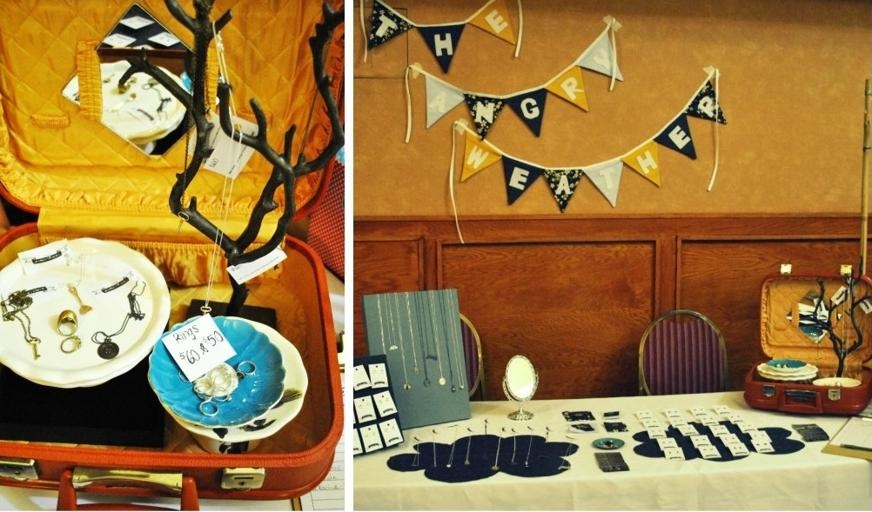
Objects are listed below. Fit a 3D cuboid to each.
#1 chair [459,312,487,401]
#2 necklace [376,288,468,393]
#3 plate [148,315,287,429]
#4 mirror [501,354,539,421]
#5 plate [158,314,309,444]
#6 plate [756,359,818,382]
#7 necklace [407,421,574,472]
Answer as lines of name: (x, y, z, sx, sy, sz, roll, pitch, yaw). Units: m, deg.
chair: (0.196, 0.513, 3.572, 0.141, 0.433, 0.115, 2, 3, 5)
necklace: (-0.065, 0.334, 3.071, 0.366, 0.474, 0.158, -1, 4, 2)
plate: (-0.796, 0.496, 2.621, 0.441, 0.116, 0.434, 31, 49, -1)
mirror: (0.388, 0.587, 3.157, 0.137, 0.309, 0.115, 0, 2, 6)
plate: (-0.780, 0.471, 2.566, 0.556, 0.518, 0.134, -3, -35, -27)
plate: (1.704, 0.550, 3.276, 0.295, 0.097, 0.186, -4, 6, -36)
necklace: (0.258, 0.833, 3.077, 0.657, 0.072, 1.056, -4, 0, 9)
